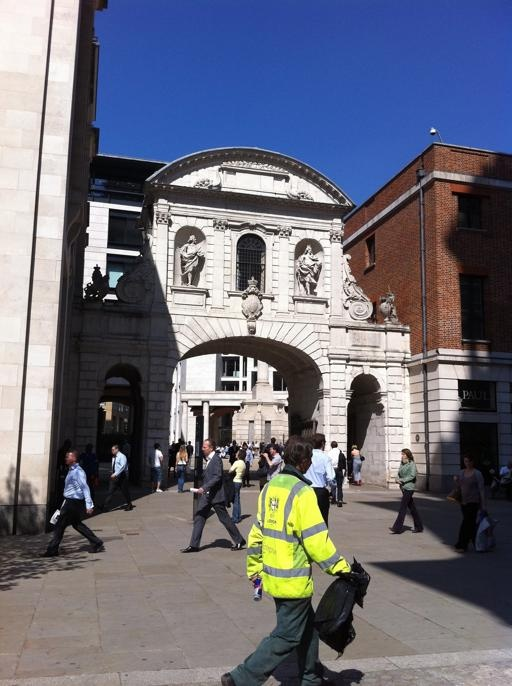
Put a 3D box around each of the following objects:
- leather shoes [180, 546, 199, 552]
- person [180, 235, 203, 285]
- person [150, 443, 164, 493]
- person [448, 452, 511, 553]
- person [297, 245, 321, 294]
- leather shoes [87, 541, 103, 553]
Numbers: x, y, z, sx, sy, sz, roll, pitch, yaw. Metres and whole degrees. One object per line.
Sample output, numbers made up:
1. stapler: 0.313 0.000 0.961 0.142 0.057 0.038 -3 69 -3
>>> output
1. leather shoes: -1.065 3.350 12.005 0.336 0.128 0.104 3 -4 -2
2. person: -2.565 -3.363 29.618 1.025 2.163 0.698 6 -7 -26
3. person: -3.409 4.280 25.383 0.418 1.598 0.735 4 -6 -7
4. person: 3.713 2.774 12.781 0.586 1.657 0.721 3 -6 0
5. person: 2.262 -3.083 31.181 1.080 2.205 0.645 6 -7 -24
6. leather shoes: -2.563 3.296 11.892 0.332 0.226 0.139 -3 -17 6
